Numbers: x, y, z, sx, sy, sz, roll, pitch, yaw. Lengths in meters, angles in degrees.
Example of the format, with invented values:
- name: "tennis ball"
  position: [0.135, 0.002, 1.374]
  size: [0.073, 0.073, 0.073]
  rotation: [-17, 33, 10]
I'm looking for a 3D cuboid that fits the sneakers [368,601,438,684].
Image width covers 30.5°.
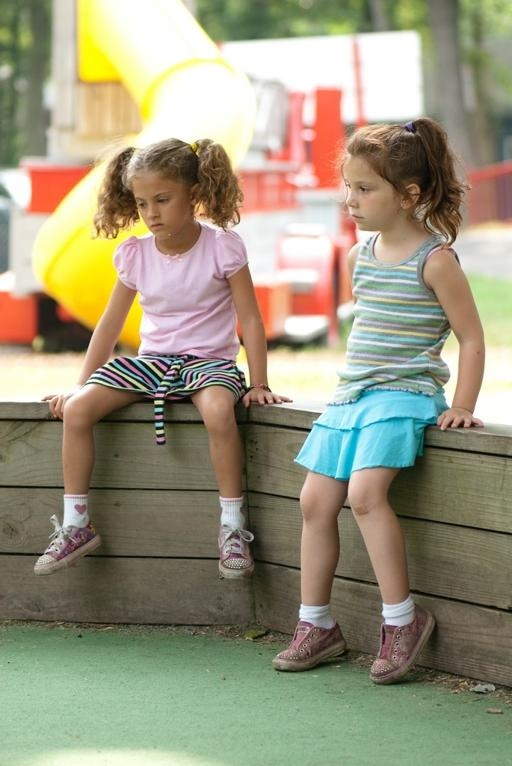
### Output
- name: "sneakers"
  position: [0.253, 0.482, 1.758]
  size: [0.084, 0.171, 0.073]
  rotation: [41, -3, -43]

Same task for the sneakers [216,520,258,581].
- name: "sneakers"
  position: [-0.041, 0.355, 1.947]
  size: [0.068, 0.053, 0.138]
  rotation: [-1, 2, -5]

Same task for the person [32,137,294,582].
- name: "person"
  position: [-0.209, -0.053, 2.123]
  size: [0.551, 0.997, 0.456]
  rotation: [-2, 4, 2]

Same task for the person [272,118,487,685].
- name: "person"
  position: [0.242, 0.025, 1.813]
  size: [0.381, 1.066, 0.288]
  rotation: [0, 5, 23]
